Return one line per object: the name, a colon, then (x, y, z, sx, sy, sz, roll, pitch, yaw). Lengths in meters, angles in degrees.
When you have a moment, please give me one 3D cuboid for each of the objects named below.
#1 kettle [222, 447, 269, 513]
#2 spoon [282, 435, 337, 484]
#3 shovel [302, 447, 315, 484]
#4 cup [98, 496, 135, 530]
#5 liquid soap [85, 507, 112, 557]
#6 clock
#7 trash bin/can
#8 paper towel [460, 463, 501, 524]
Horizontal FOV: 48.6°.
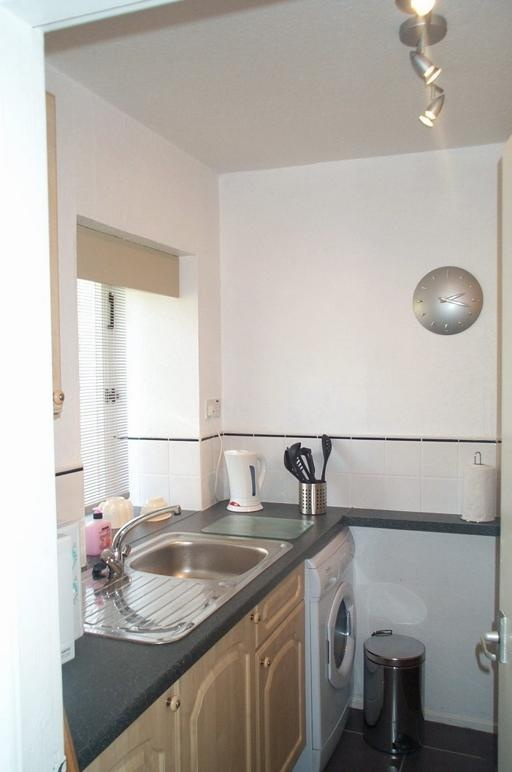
kettle: (-0.050, 0.387, 2.581, 0.235, 0.384, 0.200, 0, -1, -38)
spoon: (0.239, 0.350, 2.558, 0.186, 0.259, 0.180, 6, -11, -24)
shovel: (0.239, 0.353, 2.520, 0.028, 0.140, 0.066, -4, -6, -1)
cup: (-0.557, 0.482, 2.258, 0.137, 0.129, 0.148, 2, 3, 0)
liquid soap: (-0.541, 0.506, 1.946, 0.056, 0.196, 0.115, -1, -1, 16)
clock: (0.815, -0.363, 2.411, 0.223, 0.297, 0.233, 11, 13, 27)
trash bin/can: (0.557, 1.242, 2.280, 0.239, 0.378, 0.193, -2, 0, -3)
paper towel: (0.896, 0.428, 2.255, 0.119, 0.176, 0.066, -2, 0, 13)
